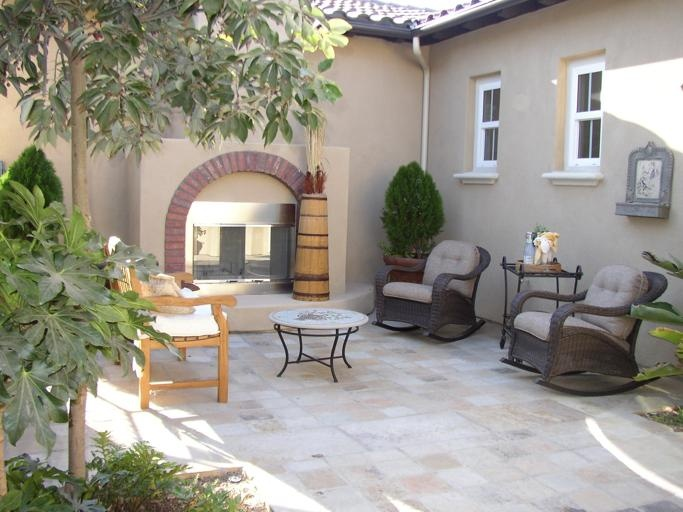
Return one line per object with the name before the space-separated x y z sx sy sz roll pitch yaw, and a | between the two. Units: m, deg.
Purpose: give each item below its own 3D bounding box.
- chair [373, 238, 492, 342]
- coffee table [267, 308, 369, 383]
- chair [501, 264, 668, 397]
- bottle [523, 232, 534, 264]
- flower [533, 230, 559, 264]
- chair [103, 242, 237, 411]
chair | 1.214 0.444 6.530 1.193 1.272 1.089 -4 9 -43
coffee table | -0.265 0.960 5.152 0.990 0.532 0.986 -7 -13 24
chair | 2.407 0.711 4.917 1.400 1.078 0.935 -3 7 -16
bottle | 2.302 -0.093 6.014 0.117 0.371 0.244 5 7 21
flower | 2.443 -0.114 6.055 0.359 0.474 0.429 2 4 18
chair | -1.341 0.631 3.918 0.662 0.869 1.534 -1 4 -18
